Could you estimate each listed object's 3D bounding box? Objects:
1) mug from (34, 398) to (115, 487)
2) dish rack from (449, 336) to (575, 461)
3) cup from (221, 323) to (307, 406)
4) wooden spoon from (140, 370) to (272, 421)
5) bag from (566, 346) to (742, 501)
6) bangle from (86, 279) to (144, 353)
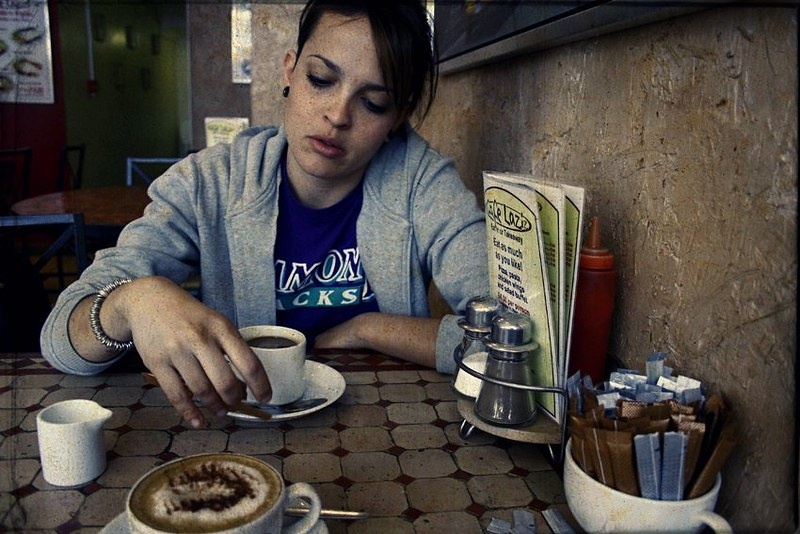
[{"bbox_3d":[-0.608,0.351,1.220,0.173,0.137,0.126,5,2,-10],"label":"mug"},{"bbox_3d":[0.253,0.254,1.304,0.225,0.148,0.202,9,17,18],"label":"dish rack"},{"bbox_3d":[-0.301,0.221,1.403,0.188,0.124,0.134,7,11,11],"label":"cup"},{"bbox_3d":[-0.395,0.269,1.272,0.296,0.030,0.029,17,13,-5],"label":"wooden spoon"},{"bbox_3d":[0.426,0.248,1.067,0.230,0.166,0.241,-2,7,-11],"label":"bag"},{"bbox_3d":[-0.673,0.114,1.431,0.095,0.173,0.099,-6,16,-23],"label":"bangle"}]
